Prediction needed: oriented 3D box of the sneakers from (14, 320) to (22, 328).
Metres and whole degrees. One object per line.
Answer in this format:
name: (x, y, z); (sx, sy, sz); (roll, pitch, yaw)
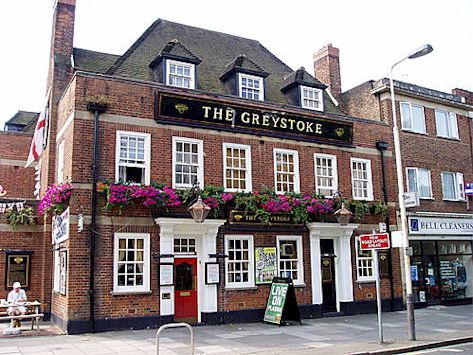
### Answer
sneakers: (-8.274, 5.487, 19.951); (0.235, 0.248, 0.628); (7, -14, -32)

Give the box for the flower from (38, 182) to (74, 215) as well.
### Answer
flower: (-6.851, 0.723, 20.433); (1.225, 0.975, 1.694); (10, -16, -37)

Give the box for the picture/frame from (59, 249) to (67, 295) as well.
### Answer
picture/frame: (-6.647, 3.652, 20.306); (0.070, 1.775, 1.695); (0, -7, -25)

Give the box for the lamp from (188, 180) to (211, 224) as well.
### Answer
lamp: (-1.444, 0.864, 20.500); (0.776, 1.703, 1.137); (-1, -12, -5)

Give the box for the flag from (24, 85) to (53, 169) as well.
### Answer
flag: (-9.043, -2.450, 24.327); (0.654, 3.223, 1.979); (4, -14, -26)

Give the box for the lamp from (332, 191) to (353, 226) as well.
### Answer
lamp: (4.638, 1.242, 23.199); (0.690, 1.680, 1.527); (-5, -12, 11)

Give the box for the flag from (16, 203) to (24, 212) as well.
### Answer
flag: (-9.382, 1.289, 22.899); (0.413, 0.530, 0.071); (0, -8, -34)

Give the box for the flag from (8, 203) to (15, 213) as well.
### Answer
flag: (-9.659, 1.267, 22.683); (0.081, 0.294, 0.297); (11, 1, 25)
